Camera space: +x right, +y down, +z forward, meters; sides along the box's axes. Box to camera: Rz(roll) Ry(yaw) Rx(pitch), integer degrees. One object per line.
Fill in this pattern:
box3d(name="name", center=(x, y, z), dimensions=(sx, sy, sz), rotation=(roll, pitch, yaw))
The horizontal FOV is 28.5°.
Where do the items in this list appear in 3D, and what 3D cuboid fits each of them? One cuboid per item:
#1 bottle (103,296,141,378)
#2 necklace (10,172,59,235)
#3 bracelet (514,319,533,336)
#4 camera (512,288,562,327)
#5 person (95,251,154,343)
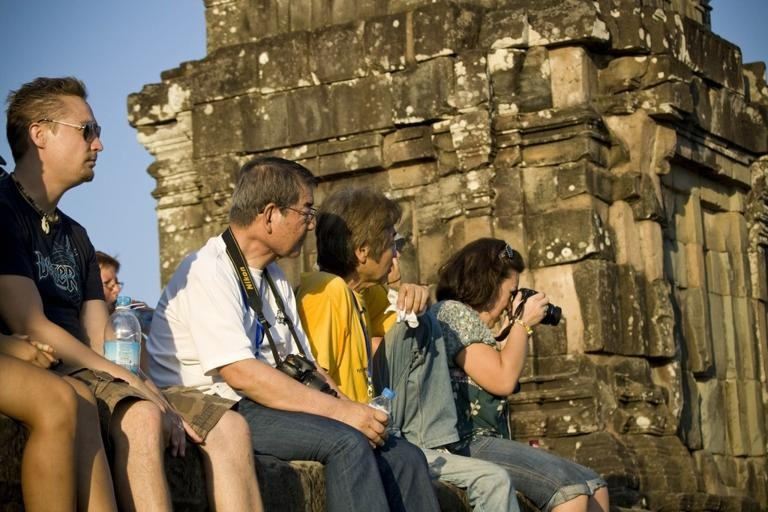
box3d(name="bottle", center=(-1.929, 0.632, 11.116), dimensions=(0.235, 0.616, 0.258), rotation=(1, -9, 0))
box3d(name="necklace", center=(-2.516, -0.392, 11.127), dimensions=(0.120, 0.418, 0.341), rotation=(-23, 6, 3))
box3d(name="bracelet", center=(1.140, 0.586, 12.308), dimensions=(0.110, 0.056, 0.140), rotation=(18, 11, -9))
box3d(name="camera", center=(1.300, 0.459, 12.639), dimensions=(0.357, 0.221, 0.337), rotation=(1, 29, -13))
box3d(name="person", center=(-2.063, 0.400, 11.651), dimensions=(0.222, 0.779, 0.234), rotation=(-3, -6, 20))
